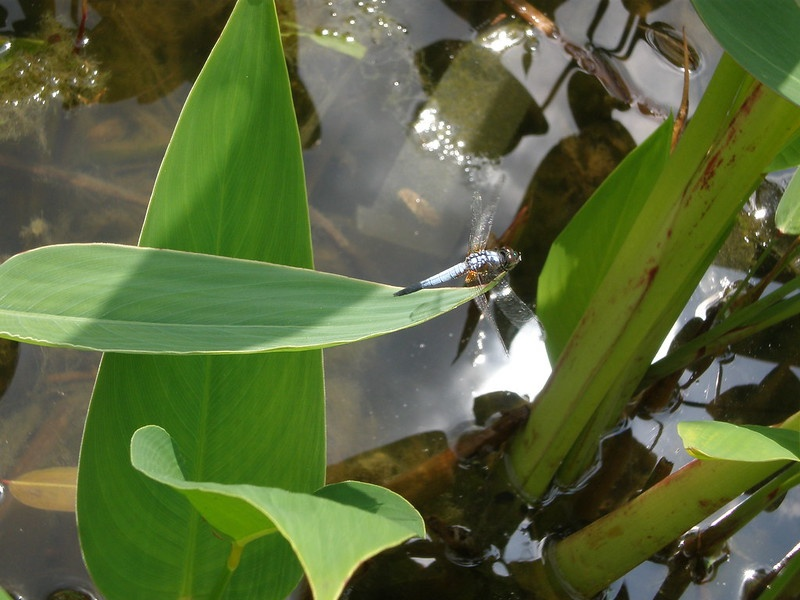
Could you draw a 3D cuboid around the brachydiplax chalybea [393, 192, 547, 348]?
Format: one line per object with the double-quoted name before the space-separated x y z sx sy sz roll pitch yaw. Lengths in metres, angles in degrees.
"brachydiplax chalybea" 0.169 -0.053 2.265 0.526 0.316 0.104 69 2 -59
